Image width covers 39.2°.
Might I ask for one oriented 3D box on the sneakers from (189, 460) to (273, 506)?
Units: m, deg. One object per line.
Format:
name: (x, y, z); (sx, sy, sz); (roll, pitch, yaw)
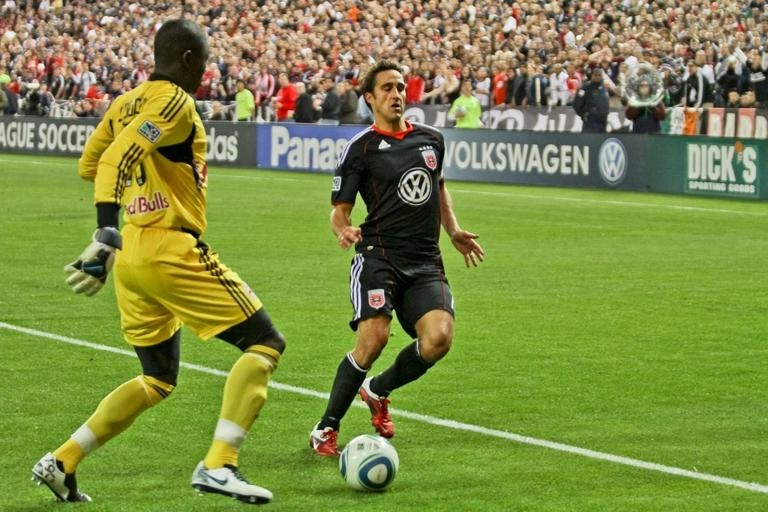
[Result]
sneakers: (-0.950, 1.567, 7.403); (0.706, 0.268, 0.215); (13, -13, -1)

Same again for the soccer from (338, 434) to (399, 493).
soccer: (-0.058, 1.500, 7.933); (0.460, 0.360, 0.418); (-1, 15, 8)

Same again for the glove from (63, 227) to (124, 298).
glove: (-2.008, 0.037, 7.304); (0.392, 0.187, 0.389); (-30, 27, -23)

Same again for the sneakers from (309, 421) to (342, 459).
sneakers: (-0.459, 1.411, 8.304); (0.240, 0.239, 0.213); (1, 4, -4)

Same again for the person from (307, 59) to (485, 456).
person: (0.058, -0.006, 8.443); (0.989, 3.064, 0.691); (2, 4, 1)
